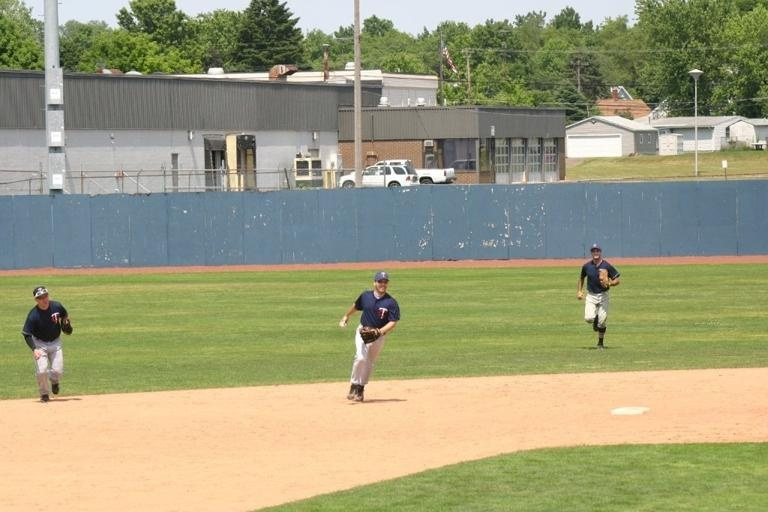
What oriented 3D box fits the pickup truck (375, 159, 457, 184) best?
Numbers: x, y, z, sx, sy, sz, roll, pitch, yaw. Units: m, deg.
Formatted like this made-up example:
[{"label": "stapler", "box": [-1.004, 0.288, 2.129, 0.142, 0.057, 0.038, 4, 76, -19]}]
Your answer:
[{"label": "pickup truck", "box": [2.714, -6.185, 137.685, 4.650, 1.554, 2.451, 1, 2, 2]}]
